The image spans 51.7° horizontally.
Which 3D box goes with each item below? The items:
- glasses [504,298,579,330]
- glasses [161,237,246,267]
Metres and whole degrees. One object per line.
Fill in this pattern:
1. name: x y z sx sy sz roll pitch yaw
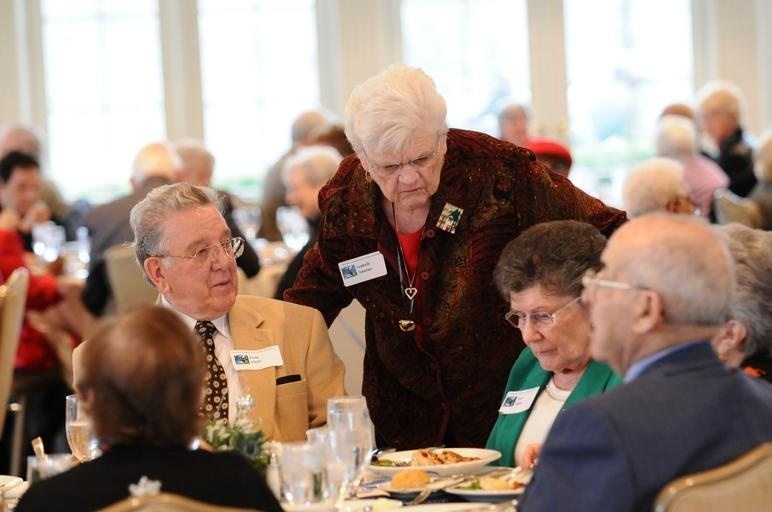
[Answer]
1. glasses: 0.530 0.216 2.771 0.151 0.046 0.145 -20 3 -34
2. glasses: -0.666 -0.016 3.072 0.161 0.047 0.161 -16 -3 36
